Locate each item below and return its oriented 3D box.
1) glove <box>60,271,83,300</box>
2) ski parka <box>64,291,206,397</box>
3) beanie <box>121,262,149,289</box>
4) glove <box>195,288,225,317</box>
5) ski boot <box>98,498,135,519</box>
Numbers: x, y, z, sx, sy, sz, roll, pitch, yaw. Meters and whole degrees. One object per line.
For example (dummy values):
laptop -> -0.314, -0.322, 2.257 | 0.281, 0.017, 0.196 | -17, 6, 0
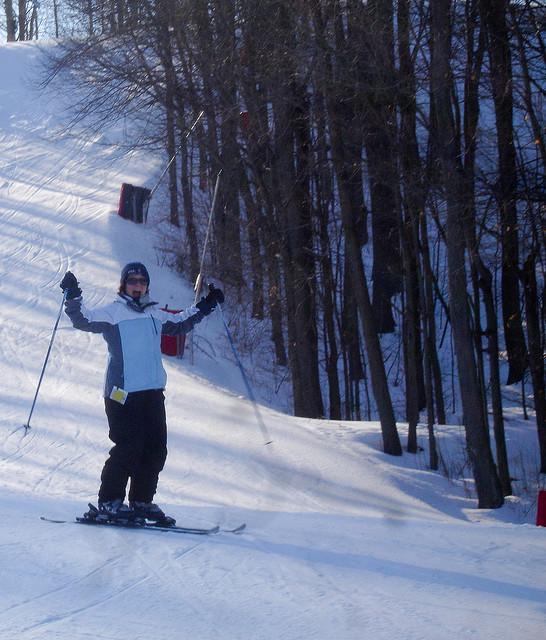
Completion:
glove -> -1.822, -0.318, 9.586 | 0.167, 0.232, 0.389 | 3, 7, -18
ski parka -> -1.257, 0.245, 9.837 | 1.499, 1.037, 0.422 | 3, -14, -42
beanie -> -1.297, -0.436, 9.844 | 0.193, 0.191, 0.219 | 6, -10, -27
glove -> -0.606, -0.185, 10.353 | 0.102, 0.254, 0.257 | 51, -3, -37
ski boot -> -1.407, 1.703, 9.485 | 0.257, 0.137, 0.164 | 4, 31, -7
